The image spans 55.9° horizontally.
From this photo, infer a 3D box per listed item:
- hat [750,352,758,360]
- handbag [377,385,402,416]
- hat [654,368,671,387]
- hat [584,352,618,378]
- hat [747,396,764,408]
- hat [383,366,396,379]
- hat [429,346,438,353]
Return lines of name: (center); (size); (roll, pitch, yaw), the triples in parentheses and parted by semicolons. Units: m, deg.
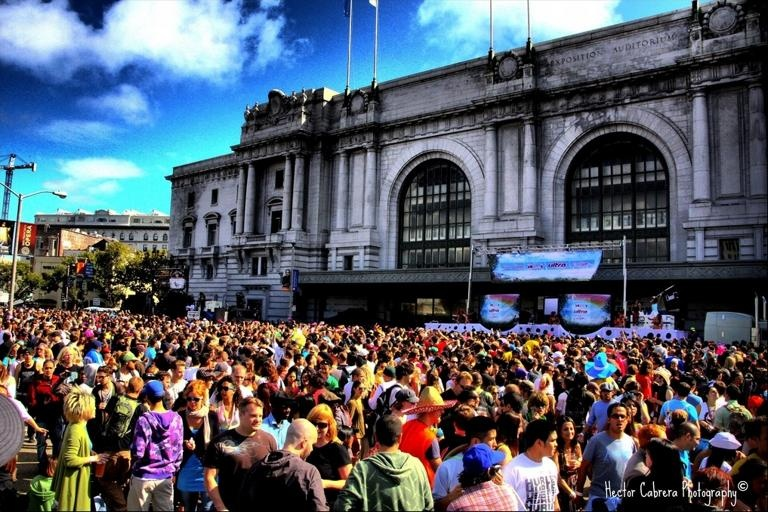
hat: (14.262, 3.938, 28.009); (0.437, 0.206, 0.573); (0, -3, 28)
handbag: (0.132, 4.096, 20.454); (0.550, 0.872, 0.861); (4, -5, -19)
hat: (8.520, 3.715, 22.234); (0.477, 0.444, 0.882); (0, -5, 22)
hat: (6.669, 3.403, 22.111); (1.129, 0.451, 0.788); (-29, 24, -30)
hat: (10.234, 4.103, 20.033); (0.371, 0.331, 0.810); (0, -5, 25)
hat: (0.169, 3.505, 21.469); (0.317, 0.253, 0.336); (3, 9, 33)
hat: (1.816, 3.525, 26.791); (0.229, 0.178, 0.174); (-5, -7, 25)
